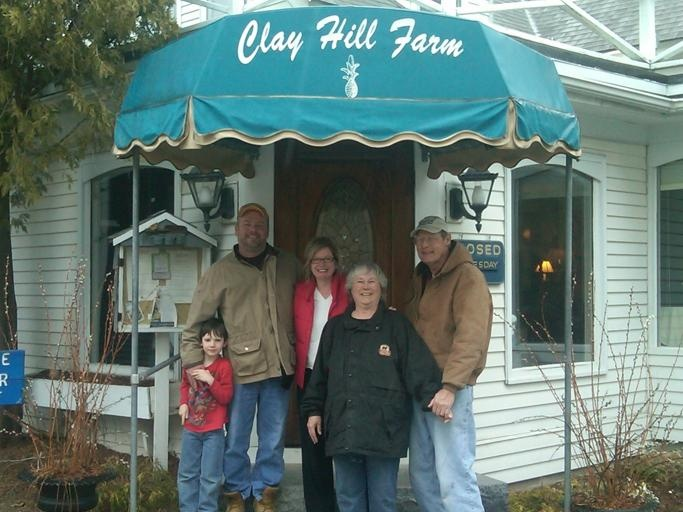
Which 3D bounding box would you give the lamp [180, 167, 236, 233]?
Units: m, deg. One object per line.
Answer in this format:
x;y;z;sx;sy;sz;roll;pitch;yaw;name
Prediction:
-1.356;-0.582;8.953;0.648;0.895;0.453;4;-8;-35;lamp

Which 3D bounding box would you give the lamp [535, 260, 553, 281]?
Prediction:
2.446;0.155;10.079;0.167;0.278;0.130;4;-9;-11;lamp
